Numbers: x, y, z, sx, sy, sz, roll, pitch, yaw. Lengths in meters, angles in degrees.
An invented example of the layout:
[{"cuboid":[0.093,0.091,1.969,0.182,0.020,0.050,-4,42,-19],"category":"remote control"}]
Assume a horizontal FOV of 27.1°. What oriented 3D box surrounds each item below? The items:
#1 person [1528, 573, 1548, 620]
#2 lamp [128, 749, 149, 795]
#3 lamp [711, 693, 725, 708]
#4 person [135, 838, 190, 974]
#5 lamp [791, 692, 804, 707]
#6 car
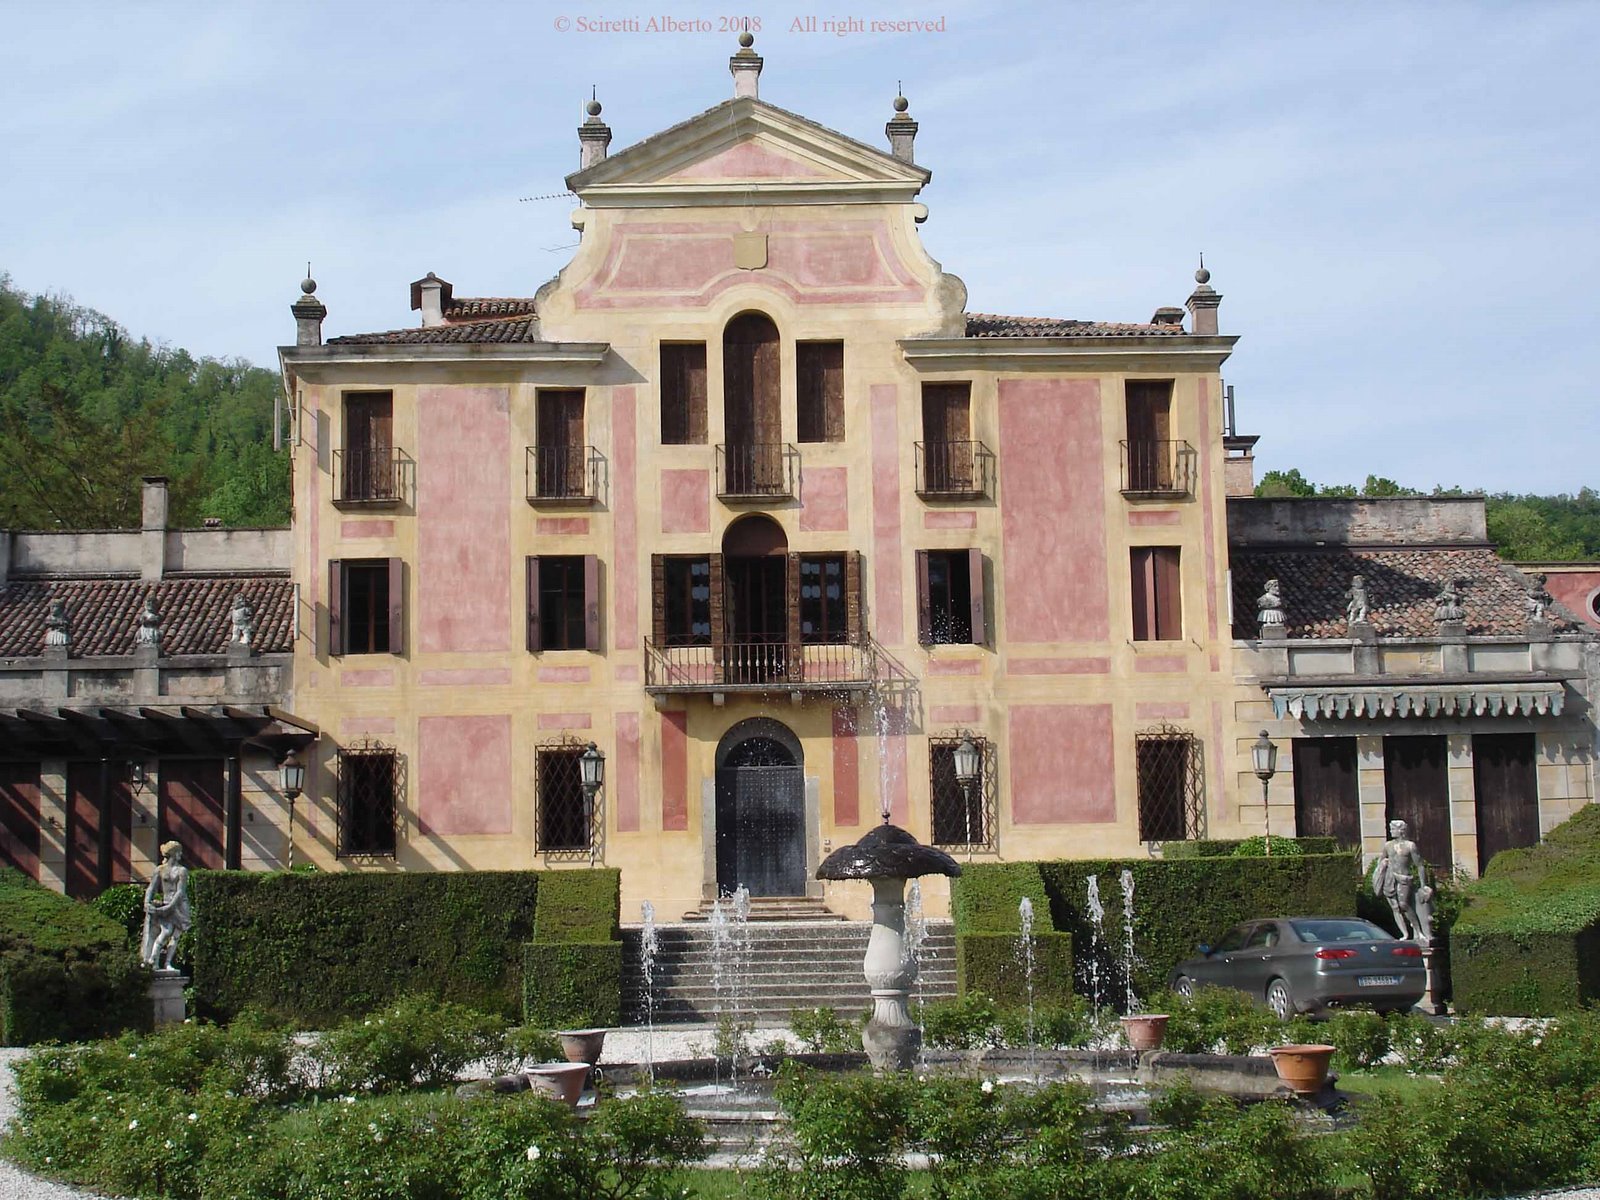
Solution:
[{"cuboid":[14.657,0.037,66.059,0.397,0.966,1.423,-4,-9,15],"category":"person"},{"cuboid":[-12.684,3.398,63.443,0.420,0.591,0.269,-1,-9,-7],"category":"lamp"},{"cuboid":[-1.640,1.982,64.393,0.225,0.238,0.224,0,3,0],"category":"lamp"},{"cuboid":[-10.989,5.357,57.088,0.831,2.180,1.571,0,-9,-11],"category":"person"},{"cuboid":[-0.120,1.970,64.448,0.269,0.287,0.200,0,5,5],"category":"lamp"},{"cuboid":[8.121,6.153,55.165,1.610,1.195,3.549,3,-5,-25],"category":"car"}]
